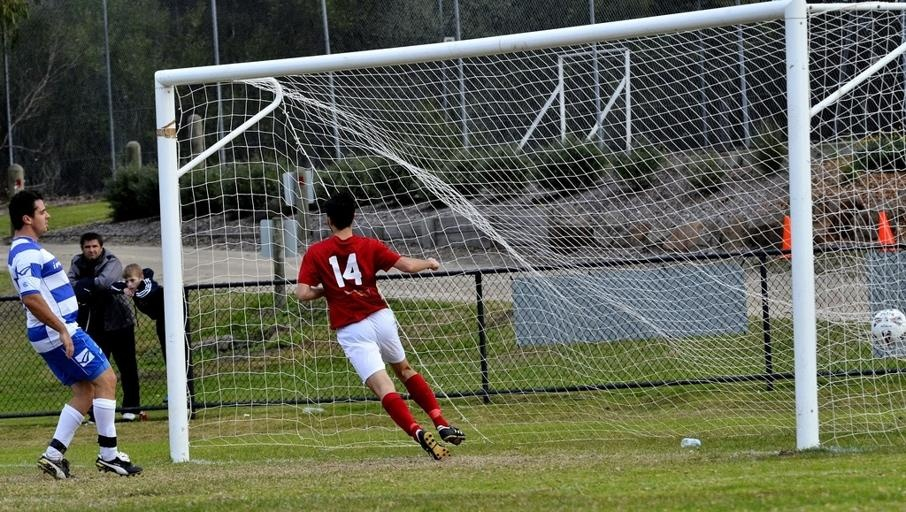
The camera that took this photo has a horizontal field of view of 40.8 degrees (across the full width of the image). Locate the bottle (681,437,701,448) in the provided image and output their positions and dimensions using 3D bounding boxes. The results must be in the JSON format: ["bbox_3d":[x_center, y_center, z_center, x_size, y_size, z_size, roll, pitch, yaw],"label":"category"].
[{"bbox_3d":[4.259,3.332,21.890,0.287,0.149,0.153,0,-6,14],"label":"bottle"}]

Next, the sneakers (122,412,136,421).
[{"bbox_3d":[-6.475,3.177,24.392,0.141,0.094,0.208,2,10,34],"label":"sneakers"}]
